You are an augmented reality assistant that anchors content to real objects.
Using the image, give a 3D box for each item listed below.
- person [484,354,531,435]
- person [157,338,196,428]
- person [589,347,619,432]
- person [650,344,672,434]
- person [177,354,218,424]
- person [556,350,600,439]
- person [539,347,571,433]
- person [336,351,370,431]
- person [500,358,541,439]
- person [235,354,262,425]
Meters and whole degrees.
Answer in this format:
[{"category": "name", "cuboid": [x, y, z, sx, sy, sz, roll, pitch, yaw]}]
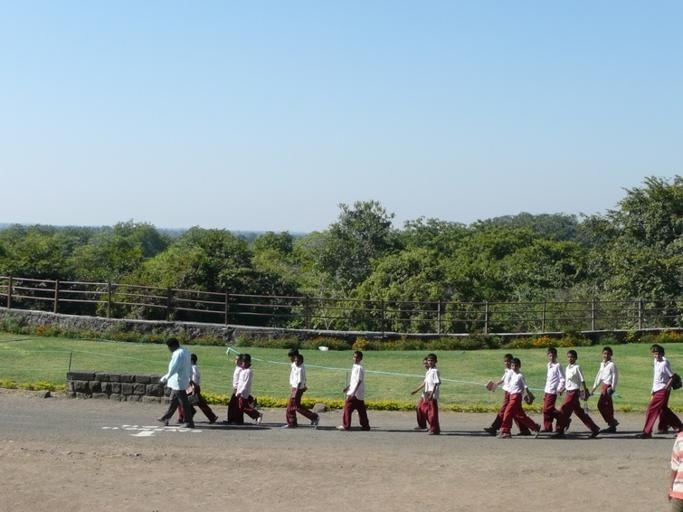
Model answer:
[{"category": "person", "cuboid": [5.143, 4.389, 45.884, 1.615, 2.804, 1.022, 3, -4, 8]}, {"category": "person", "cuboid": [-5.013, 3.945, 45.260, 1.039, 2.692, 0.602, 4, -5, -7]}, {"category": "person", "cuboid": [8.330, 4.178, 45.757, 0.832, 2.548, 0.934, 0, -1, -13]}, {"category": "person", "cuboid": [9.980, 4.158, 45.302, 0.690, 2.565, 0.953, 3, 4, 16]}, {"category": "person", "cuboid": [-4.508, 4.197, 45.884, 1.546, 2.182, 0.882, -2, -9, 12]}, {"category": "person", "cuboid": [7.472, 4.302, 45.557, 1.255, 2.583, 1.344, -1, 7, 1]}, {"category": "person", "cuboid": [6.608, 4.211, 45.625, 0.913, 2.580, 1.155, 4, 2, -23]}, {"category": "person", "cuboid": [0.403, 4.227, 45.561, 0.860, 2.389, 1.238, -3, -5, 43]}, {"category": "person", "cuboid": [5.500, 4.414, 45.208, 1.078, 2.420, 0.751, 3, -5, -4]}, {"category": "person", "cuboid": [-2.888, 4.182, 45.725, 0.747, 2.131, 0.664, 7, -7, -41]}]
